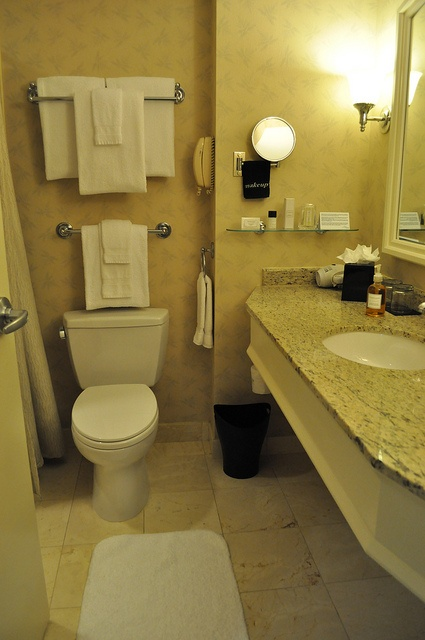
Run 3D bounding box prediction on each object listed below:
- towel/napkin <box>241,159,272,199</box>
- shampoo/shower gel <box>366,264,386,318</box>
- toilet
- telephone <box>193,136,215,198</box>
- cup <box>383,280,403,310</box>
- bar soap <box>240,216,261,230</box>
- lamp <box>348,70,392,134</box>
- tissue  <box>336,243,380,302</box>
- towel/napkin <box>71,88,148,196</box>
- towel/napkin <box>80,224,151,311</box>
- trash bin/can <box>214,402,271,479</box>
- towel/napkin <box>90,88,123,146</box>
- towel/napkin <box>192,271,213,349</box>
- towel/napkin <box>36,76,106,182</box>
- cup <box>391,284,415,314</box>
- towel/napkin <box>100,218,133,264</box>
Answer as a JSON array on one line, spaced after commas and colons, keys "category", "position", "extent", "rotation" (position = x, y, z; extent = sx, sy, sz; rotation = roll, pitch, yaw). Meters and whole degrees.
[{"category": "towel/napkin", "position": [0.177, -0.581, 1.927], "extent": [0.151, 0.211, 0.028], "rotation": [-1, 14, -6]}, {"category": "shampoo/shower gel", "position": [0.536, -0.096, 1.533], "extent": [0.059, 0.161, 0.073], "rotation": [3, 13, 19]}, {"category": "toilet", "position": [-0.391, 0.384, 1.916], "extent": [0.466, 0.753, 0.534], "rotation": [-1, 23, -10]}, {"category": "telephone", "position": [-0.037, -0.648, 1.966], "extent": [0.083, 0.207, 0.090], "rotation": [-2, 12, -6]}, {"category": "cup", "position": [0.605, -0.081, 1.576], "extent": [0.062, 0.105, 0.065], "rotation": [0, 18, 0]}, {"category": "bar soap", "position": [0.159, -0.390, 1.924], "extent": [0.081, 0.051, 0.055], "rotation": [-1, 12, -1]}, {"category": "lamp", "position": [0.613, -0.849, 1.849], "extent": [0.176, 0.222, 0.139], "rotation": [12, 16, 32]}, {"category": "tissue ", "position": [0.541, -0.173, 1.749], "extent": [0.165, 0.215, 0.192], "rotation": [10, 13, 38]}, {"category": "towel/napkin", "position": [-0.405, -0.695, 1.860], "extent": [0.285, 0.378, 0.133], "rotation": [-4, 22, -7]}, {"category": "towel/napkin", "position": [-0.414, -0.230, 2.002], "extent": [0.349, 0.448, 0.099], "rotation": [-2, 11, -9]}, {"category": "trash bin/can", "position": [0.123, 0.515, 2.013], "extent": [0.239, 0.295, 0.260], "rotation": [0, 12, 6]}, {"category": "towel/napkin", "position": [-0.408, -0.787, 1.831], "extent": [0.109, 0.201, 0.025], "rotation": [-4, 13, -14]}, {"category": "towel/napkin", "position": [-0.044, -0.044, 2.097], "extent": [0.088, 0.328, 0.054], "rotation": [0, 12, 6]}, {"category": "towel/napkin", "position": [-0.549, -0.754, 1.860], "extent": [0.253, 0.374, 0.063], "rotation": [0, 12, 5]}, {"category": "cup", "position": [0.630, -0.069, 1.556], "extent": [0.073, 0.087, 0.096], "rotation": [4, 13, 21]}, {"category": "towel/napkin", "position": [-0.417, -0.345, 2.031], "extent": [0.132, 0.057, 0.190], "rotation": [-10, 36, -3]}]
